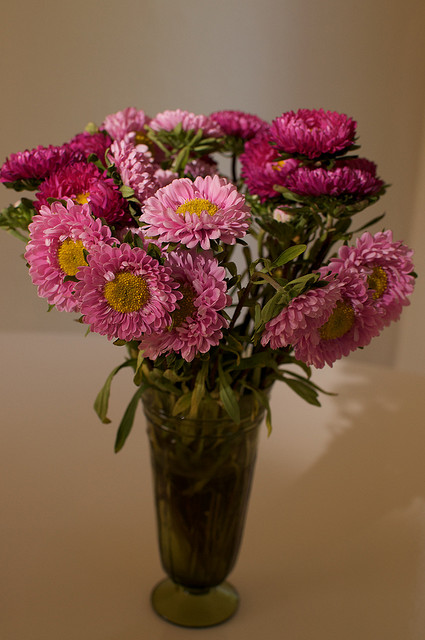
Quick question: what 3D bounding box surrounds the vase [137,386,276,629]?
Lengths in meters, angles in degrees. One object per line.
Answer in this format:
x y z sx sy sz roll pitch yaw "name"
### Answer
-0.018 0.256 0.763 0.167 0.422 0.219 4 17 5 "vase"
